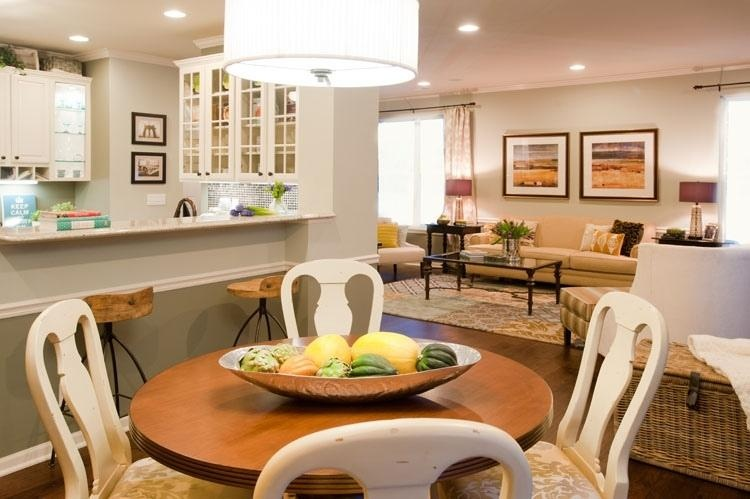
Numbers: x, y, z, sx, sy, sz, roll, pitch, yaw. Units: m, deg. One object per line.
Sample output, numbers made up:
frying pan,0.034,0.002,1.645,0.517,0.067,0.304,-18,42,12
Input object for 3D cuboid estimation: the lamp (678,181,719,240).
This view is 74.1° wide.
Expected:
lamp,4.229,-0.532,6.610,0.459,0.819,0.401,6,8,45

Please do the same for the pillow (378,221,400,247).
pillow,0.206,-0.232,8.176,0.466,0.445,0.246,0,-2,-23

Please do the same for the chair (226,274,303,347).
chair,-0.787,0.384,3.606,0.438,0.591,0.511,10,13,20

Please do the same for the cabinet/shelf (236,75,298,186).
cabinet/shelf,-1.041,-1.135,4.784,0.365,1.082,0.672,-2,6,-42

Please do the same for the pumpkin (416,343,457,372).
pumpkin,0.211,0.382,1.730,0.095,0.096,0.097,31,-12,11

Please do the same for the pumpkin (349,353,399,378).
pumpkin,-0.017,0.388,1.652,0.108,0.065,0.084,8,-4,26

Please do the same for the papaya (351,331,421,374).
papaya,0.039,0.362,1.808,0.256,0.158,0.177,-12,2,34

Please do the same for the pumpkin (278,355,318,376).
pumpkin,-0.264,0.380,1.675,0.090,0.049,0.067,1,5,-37

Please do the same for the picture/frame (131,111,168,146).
picture/frame,-2.942,-1.565,6.414,0.042,0.455,0.528,1,1,41

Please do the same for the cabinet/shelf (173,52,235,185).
cabinet/shelf,-1.720,-1.350,5.446,1.035,1.322,0.348,9,11,36

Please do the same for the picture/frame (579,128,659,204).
picture/frame,3.693,-1.274,7.473,1.230,1.200,0.094,2,4,35

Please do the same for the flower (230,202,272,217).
flower,-1.012,-0.322,4.068,0.335,0.092,0.239,-3,10,-16

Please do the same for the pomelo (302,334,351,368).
pomelo,-0.178,0.368,1.822,0.169,0.156,0.158,1,14,-2

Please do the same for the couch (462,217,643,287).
couch,2.730,0.059,7.180,1.788,0.940,2.775,-1,8,-30

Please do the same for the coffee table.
coffee table,1.547,0.421,6.735,1.630,0.610,0.977,5,8,41

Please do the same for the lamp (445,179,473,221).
lamp,1.414,-0.851,8.525,0.467,0.729,0.791,2,10,10

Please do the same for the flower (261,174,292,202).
flower,-0.877,-0.575,4.737,0.319,0.313,0.317,-6,12,-41

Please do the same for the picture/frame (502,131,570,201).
picture/frame,2.620,-1.369,8.161,1.102,1.033,0.119,6,12,31

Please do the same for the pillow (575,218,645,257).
pillow,3.295,-0.167,7.048,0.507,0.708,0.833,-1,4,-26

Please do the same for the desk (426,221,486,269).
desk,1.270,-0.087,8.426,0.617,0.720,0.803,-1,3,-36

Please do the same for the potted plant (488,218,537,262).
potted plant,1.840,-0.158,6.828,0.714,0.695,0.707,1,1,9

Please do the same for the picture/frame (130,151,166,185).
picture/frame,-2.969,-1.060,6.452,0.490,0.475,0.037,-1,3,-44

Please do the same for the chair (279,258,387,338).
chair,-0.228,0.256,2.640,0.512,0.390,0.319,1,10,7
